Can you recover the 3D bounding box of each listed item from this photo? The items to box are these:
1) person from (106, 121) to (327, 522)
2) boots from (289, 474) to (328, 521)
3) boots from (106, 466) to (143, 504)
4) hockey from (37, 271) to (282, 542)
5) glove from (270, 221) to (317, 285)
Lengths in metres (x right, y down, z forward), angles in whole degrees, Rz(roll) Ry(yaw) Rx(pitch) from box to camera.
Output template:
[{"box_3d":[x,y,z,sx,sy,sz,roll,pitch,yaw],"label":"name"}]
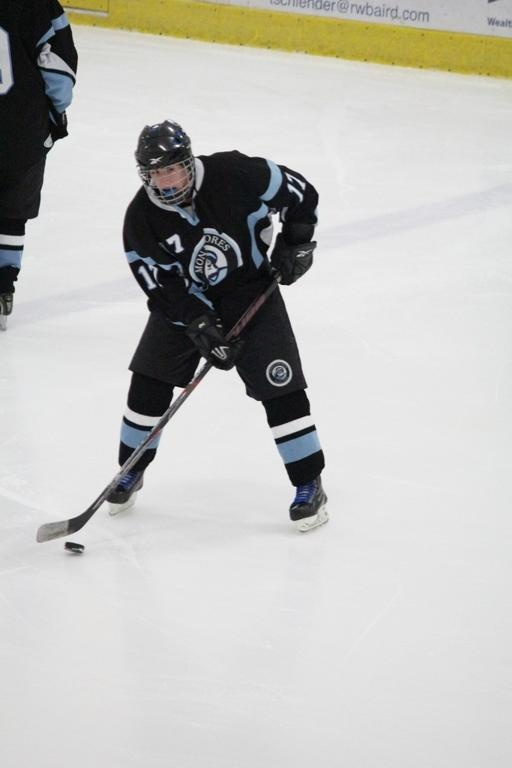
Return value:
[{"box_3d":[-0.053,-0.132,1.810,0.526,0.874,0.416,3,19,-12],"label":"person"},{"box_3d":[0.124,0.271,1.841,0.064,0.082,0.191,-4,1,22],"label":"boots"},{"box_3d":[-0.313,0.249,1.919,0.044,0.051,0.127,13,14,14],"label":"boots"},{"box_3d":[-0.245,0.085,2.046,0.106,0.109,0.945,23,66,46],"label":"hockey"},{"box_3d":[0.090,-0.317,1.910,0.097,0.149,0.062,13,35,-1],"label":"glove"}]
